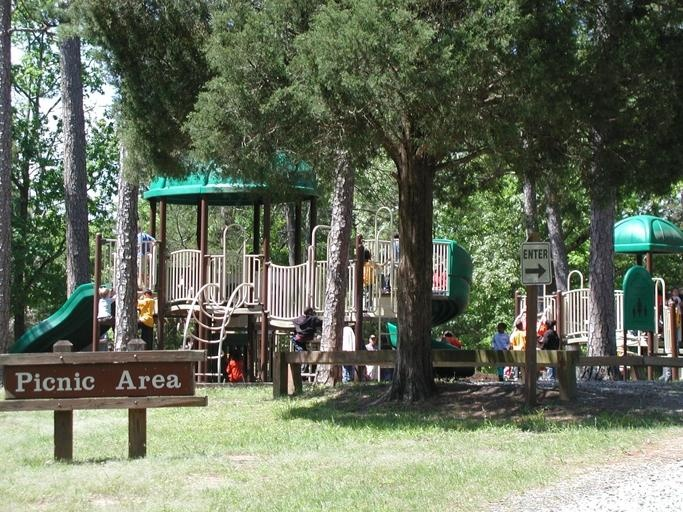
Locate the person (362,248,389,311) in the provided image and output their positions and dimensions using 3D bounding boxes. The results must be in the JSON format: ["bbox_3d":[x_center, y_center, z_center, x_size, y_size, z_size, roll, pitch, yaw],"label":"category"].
[{"bbox_3d":[0.758,0.550,24.748,0.565,1.370,1.263,-2,-5,2],"label":"person"}]

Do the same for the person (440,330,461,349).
[{"bbox_3d":[2.812,2.168,28.210,0.392,0.401,0.710,5,-2,-20],"label":"person"}]

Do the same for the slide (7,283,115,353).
[{"bbox_3d":[-7.214,1.555,27.782,1.771,1.659,1.815,-1,-6,-16],"label":"slide"}]
